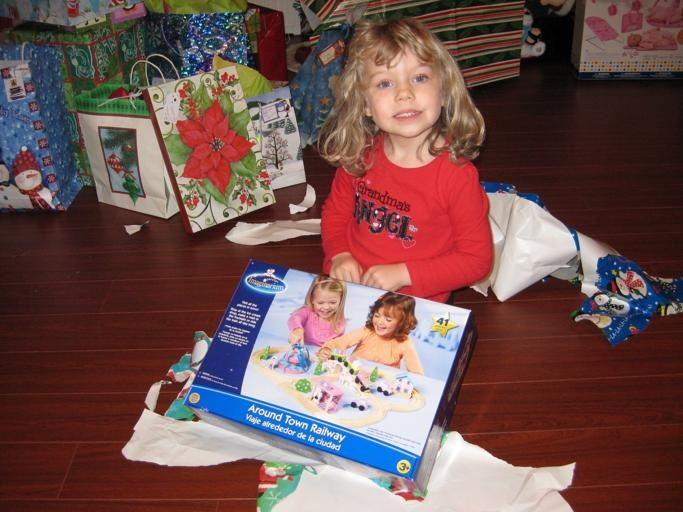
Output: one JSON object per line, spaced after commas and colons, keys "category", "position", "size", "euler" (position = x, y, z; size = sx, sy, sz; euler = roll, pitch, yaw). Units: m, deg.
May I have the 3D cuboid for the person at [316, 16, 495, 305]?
{"category": "person", "position": [0.154, -0.239, 1.435], "size": [0.462, 0.727, 0.446], "euler": [-3, 32, 4]}

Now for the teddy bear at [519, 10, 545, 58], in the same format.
{"category": "teddy bear", "position": [1.182, -1.399, 3.353], "size": [0.191, 0.295, 0.046], "euler": [-16, 35, -18]}

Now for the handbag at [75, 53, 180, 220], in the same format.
{"category": "handbag", "position": [-0.825, -0.407, 2.090], "size": [0.253, 0.499, 0.395], "euler": [-27, 38, -30]}
